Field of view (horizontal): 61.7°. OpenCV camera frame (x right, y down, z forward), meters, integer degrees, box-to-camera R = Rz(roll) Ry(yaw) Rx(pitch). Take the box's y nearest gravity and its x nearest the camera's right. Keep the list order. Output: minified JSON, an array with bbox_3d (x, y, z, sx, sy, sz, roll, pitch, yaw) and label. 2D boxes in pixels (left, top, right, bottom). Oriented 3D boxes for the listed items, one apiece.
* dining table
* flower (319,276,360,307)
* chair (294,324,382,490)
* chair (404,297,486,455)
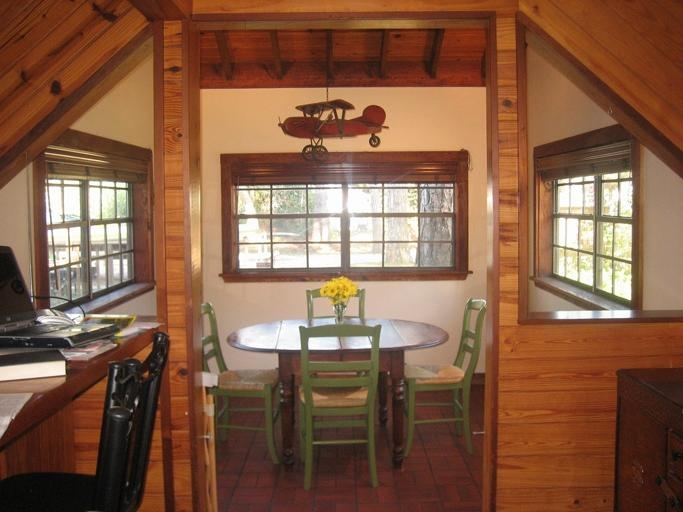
[{"bbox_3d":[-0.012,0.726,4.298,1.259,0.737,1.152,0,5,-1],"label":"dining table"},{"bbox_3d":[-0.016,0.242,4.246,0.231,0.169,0.231,-2,-1,1],"label":"flower"},{"bbox_3d":[-0.023,0.888,3.905,0.555,1.061,0.895,-1,7,0],"label":"chair"},{"bbox_3d":[0.729,0.854,4.272,0.679,1.041,0.642,1,1,16],"label":"chair"}]
